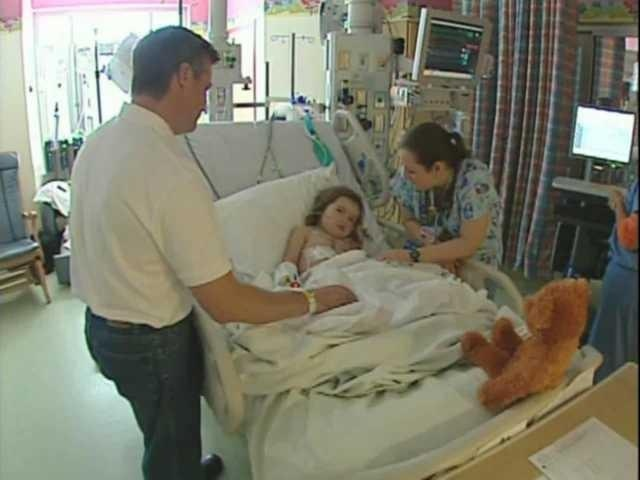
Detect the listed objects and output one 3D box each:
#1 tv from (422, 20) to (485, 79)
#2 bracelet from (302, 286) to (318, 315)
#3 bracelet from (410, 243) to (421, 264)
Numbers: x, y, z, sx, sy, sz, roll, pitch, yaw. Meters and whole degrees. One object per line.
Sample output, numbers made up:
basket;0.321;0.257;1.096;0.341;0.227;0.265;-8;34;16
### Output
tv;0.850;-1.208;3.394;0.469;0.309;0.067;-9;15;-36
bracelet;-0.032;0.218;1.943;0.027;0.077;0.054;-10;13;-27
bracelet;0.493;0.066;2.791;0.060;0.087;0.031;3;-18;6
